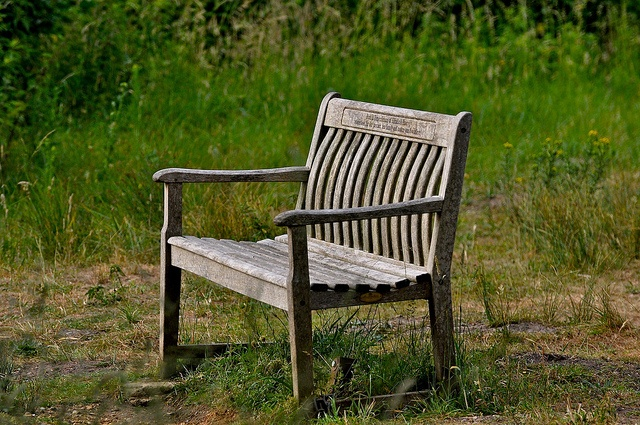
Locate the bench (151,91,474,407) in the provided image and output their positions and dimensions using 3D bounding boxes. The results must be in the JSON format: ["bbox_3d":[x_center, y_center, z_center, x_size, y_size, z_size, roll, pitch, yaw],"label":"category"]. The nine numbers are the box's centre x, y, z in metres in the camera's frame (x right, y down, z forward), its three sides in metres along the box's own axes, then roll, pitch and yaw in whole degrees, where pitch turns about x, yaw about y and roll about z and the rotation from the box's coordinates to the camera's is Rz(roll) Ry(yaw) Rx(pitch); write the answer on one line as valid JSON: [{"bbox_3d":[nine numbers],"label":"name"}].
[{"bbox_3d":[0.011,0.192,7.208,1.909,1.790,1.303,10,19,34],"label":"bench"}]
